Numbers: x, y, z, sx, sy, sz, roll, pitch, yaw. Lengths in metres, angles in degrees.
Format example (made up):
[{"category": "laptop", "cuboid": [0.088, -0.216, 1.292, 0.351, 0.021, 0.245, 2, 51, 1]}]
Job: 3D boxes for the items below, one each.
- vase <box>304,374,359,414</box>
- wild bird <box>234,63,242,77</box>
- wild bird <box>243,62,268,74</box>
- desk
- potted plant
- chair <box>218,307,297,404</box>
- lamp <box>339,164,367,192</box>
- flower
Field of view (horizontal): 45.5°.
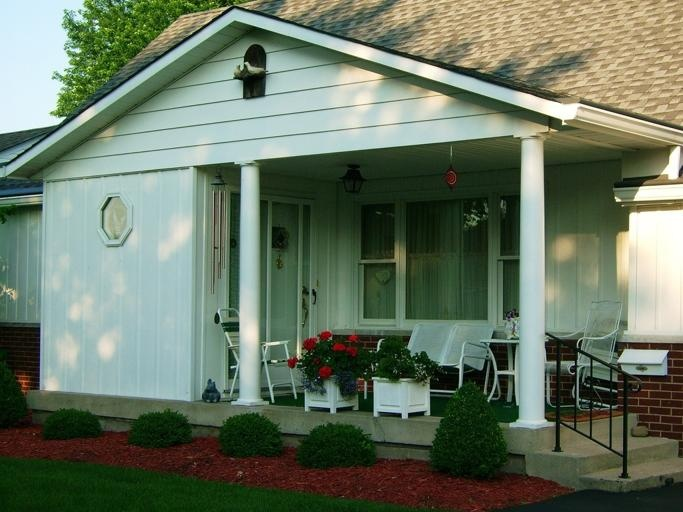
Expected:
[{"category": "vase", "cuboid": [-0.143, 1.838, 10.552, 0.502, 0.421, 0.520, -1, -2, 41]}, {"category": "wild bird", "cuboid": [-1.450, -2.577, 11.333, 0.110, 0.247, 0.262, 1, -2, -9]}, {"category": "wild bird", "cuboid": [-1.197, -2.554, 11.222, 0.254, 0.176, 0.124, 3, -19, -22]}, {"category": "desk", "cuboid": [2.314, 1.603, 11.418, 0.833, 0.929, 1.600, 1, -2, 0]}, {"category": "potted plant", "cuboid": [0.865, 1.437, 10.259, 0.827, 1.043, 0.978, -2, -4, 41]}, {"category": "chair", "cuboid": [-1.332, 1.493, 12.292, 1.303, 1.858, 1.146, -4, -6, 26]}, {"category": "lamp", "cuboid": [0.219, -1.196, 12.600, 0.377, 0.518, 0.351, 0, 4, -34]}, {"category": "flower", "cuboid": [-0.141, 1.386, 10.582, 0.915, 0.752, 0.907, 1, -2, -33]}]
